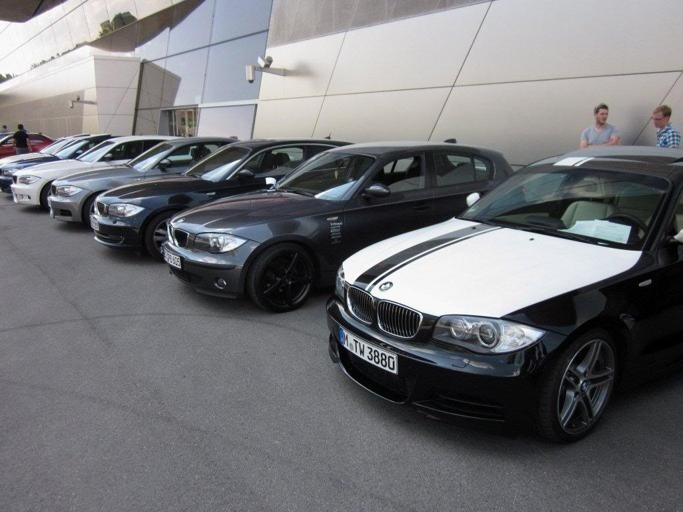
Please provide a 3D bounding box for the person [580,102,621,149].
[{"bbox_3d":[4.397,-2.175,7.483,0.449,0.696,1.074,12,21,11],"label":"person"}]

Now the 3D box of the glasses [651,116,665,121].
[{"bbox_3d":[5.047,-2.142,7.011,0.211,0.049,0.192,-9,12,-35],"label":"glasses"}]
